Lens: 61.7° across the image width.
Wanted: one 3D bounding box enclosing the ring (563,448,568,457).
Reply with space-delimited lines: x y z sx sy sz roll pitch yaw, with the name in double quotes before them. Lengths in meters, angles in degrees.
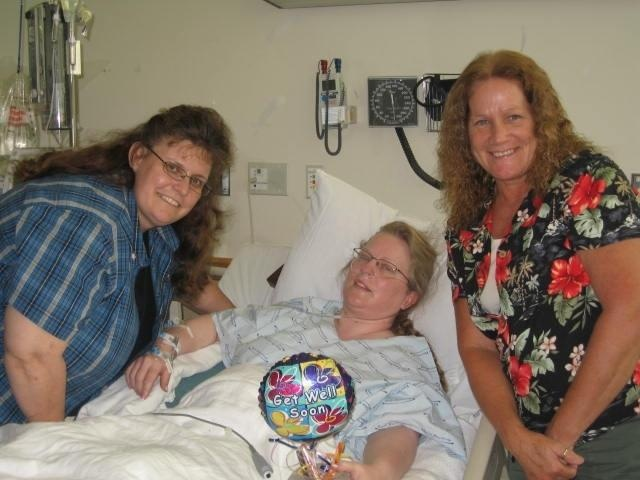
"ring" 0.720 0.624 1.578 0.007 0.020 0.021 14 3 7
